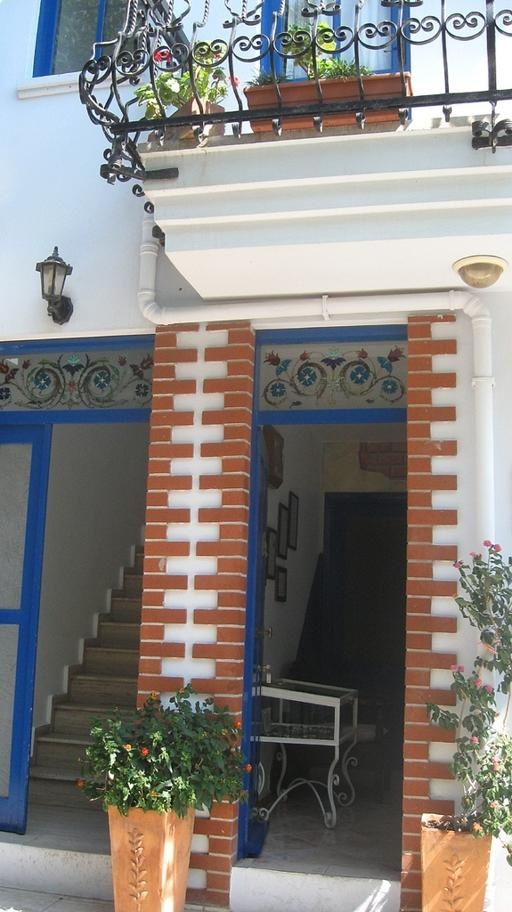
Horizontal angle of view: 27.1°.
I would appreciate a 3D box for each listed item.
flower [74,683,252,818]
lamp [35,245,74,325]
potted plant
[{"bbox_3d":[-0.375,1.312,4.704,0.452,0.566,0.727,-8,-16,44],"label":"flower"},{"bbox_3d":[-1.041,-0.901,5.482,0.187,0.409,0.282,4,-11,-4],"label":"lamp"},{"bbox_3d":[0.305,-1.583,4.448,0.740,0.539,0.527,2,-50,11],"label":"potted plant"}]
